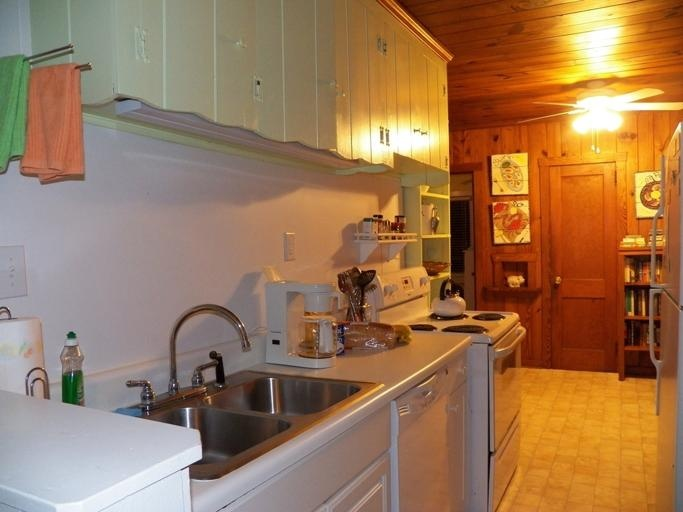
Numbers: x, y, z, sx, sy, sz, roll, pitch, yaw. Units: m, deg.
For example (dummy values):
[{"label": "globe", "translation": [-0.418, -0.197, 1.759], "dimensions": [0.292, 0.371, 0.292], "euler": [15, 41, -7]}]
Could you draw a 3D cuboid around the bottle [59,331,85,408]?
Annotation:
[{"label": "bottle", "translation": [-0.847, 0.346, 1.751], "dimensions": [0.064, 0.231, 0.151], "euler": [-4, 5, -23]}]

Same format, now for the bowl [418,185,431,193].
[{"label": "bowl", "translation": [0.602, -0.480, 4.052], "dimensions": [0.061, 0.033, 0.089], "euler": [-1, -1, -1]}]

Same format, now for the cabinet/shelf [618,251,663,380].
[{"label": "cabinet/shelf", "translation": [2.906, 0.528, 5.276], "dimensions": [0.501, 1.162, 0.282], "euler": [0, 4, 33]}]

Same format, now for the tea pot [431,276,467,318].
[{"label": "tea pot", "translation": [0.705, 0.277, 3.658], "dimensions": [0.227, 0.247, 0.239], "euler": [0, -2, 0]}]

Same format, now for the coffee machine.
[{"label": "coffee machine", "translation": [-0.178, 0.294, 2.419], "dimensions": [0.307, 0.355, 0.149], "euler": [2, 6, 38]}]

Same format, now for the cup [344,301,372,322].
[{"label": "cup", "translation": [0.094, 0.297, 3.008], "dimensions": [0.106, 0.112, 0.107], "euler": [-1, -3, 0]}]

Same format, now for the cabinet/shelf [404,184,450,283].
[{"label": "cabinet/shelf", "translation": [0.665, -0.175, 4.275], "dimensions": [0.300, 0.717, 0.709], "euler": [-1, 5, 14]}]

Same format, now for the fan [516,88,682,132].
[{"label": "fan", "translation": [2.296, -1.280, 4.866], "dimensions": [0.814, 0.199, 0.818], "euler": [-8, 8, -24]}]

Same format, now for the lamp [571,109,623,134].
[{"label": "lamp", "translation": [2.172, -1.135, 4.701], "dimensions": [0.382, 0.159, 0.394], "euler": [0, 10, 39]}]
